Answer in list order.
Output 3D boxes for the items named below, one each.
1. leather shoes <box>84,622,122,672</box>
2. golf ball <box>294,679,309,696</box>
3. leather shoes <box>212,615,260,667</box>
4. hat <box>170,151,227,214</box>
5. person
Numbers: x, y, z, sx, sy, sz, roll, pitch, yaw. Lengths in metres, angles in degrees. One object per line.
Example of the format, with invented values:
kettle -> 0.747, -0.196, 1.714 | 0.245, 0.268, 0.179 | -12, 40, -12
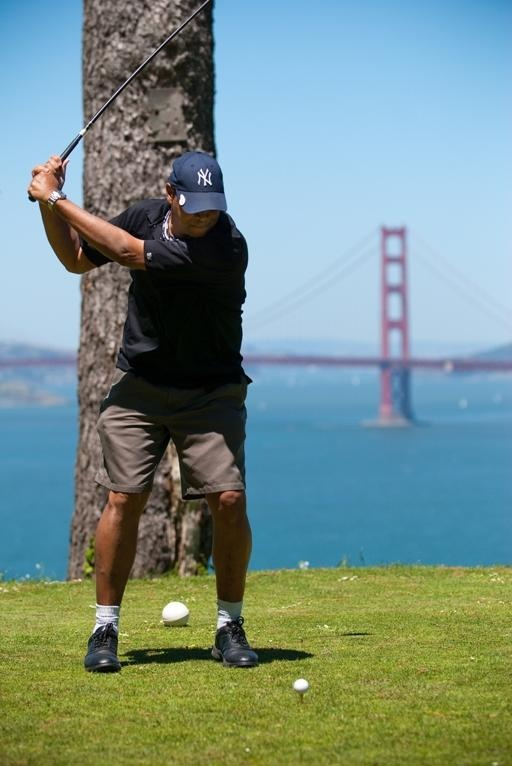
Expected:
leather shoes -> -0.439, 0.754, 3.513 | 0.119, 0.130, 0.329 | 0, -6, -8
golf ball -> 0.113, 0.767, 3.135 | 0.040, 0.037, 0.037 | 4, 41, -3
leather shoes -> -0.058, 0.743, 3.572 | 0.115, 0.130, 0.296 | 0, -1, -16
hat -> -0.160, -0.593, 3.484 | 0.170, 0.127, 0.235 | -4, 43, -16
person -> -0.333, 0.049, 3.598 | 0.634, 1.506, 0.400 | 0, -2, -1
